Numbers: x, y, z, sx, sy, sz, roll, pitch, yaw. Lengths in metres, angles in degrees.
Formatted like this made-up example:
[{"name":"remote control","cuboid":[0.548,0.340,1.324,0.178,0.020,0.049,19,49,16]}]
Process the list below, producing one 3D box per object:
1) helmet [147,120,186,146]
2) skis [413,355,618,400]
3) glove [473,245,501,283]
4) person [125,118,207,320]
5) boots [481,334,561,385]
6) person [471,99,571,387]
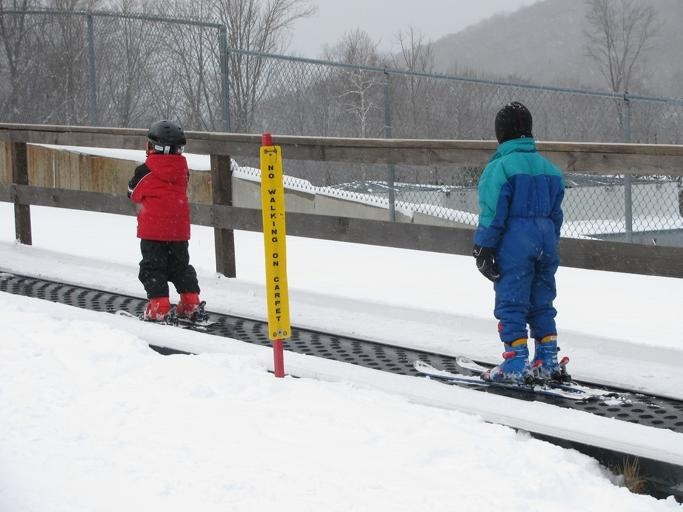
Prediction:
[{"name":"helmet","cuboid":[-1.294,-0.899,7.591,0.182,0.202,0.231,4,31,-10]},{"name":"skis","cuboid":[1.125,0.789,6.561,0.975,0.105,0.116,8,28,18]},{"name":"glove","cuboid":[0.921,0.056,6.578,0.167,0.236,0.136,1,6,-8]},{"name":"person","cuboid":[-1.304,-0.256,7.618,0.539,1.445,0.412,0,6,-13]},{"name":"boots","cuboid":[1.171,0.610,6.634,0.405,0.250,0.324,-1,0,-22]},{"name":"person","cuboid":[1.156,-0.088,6.602,0.615,1.764,0.397,2,6,2]}]
